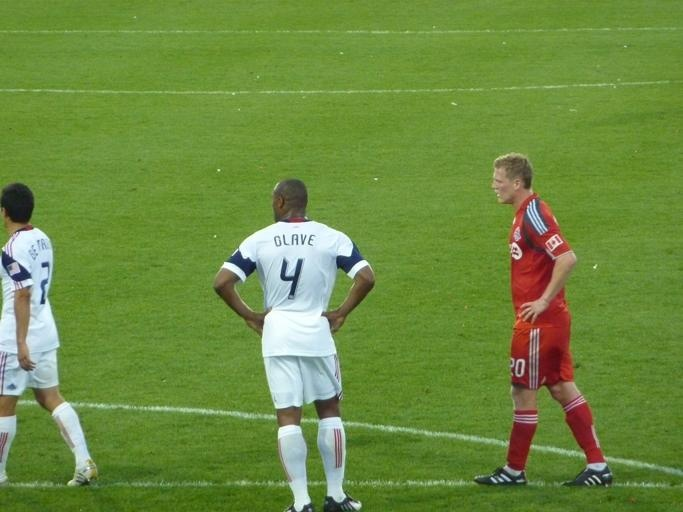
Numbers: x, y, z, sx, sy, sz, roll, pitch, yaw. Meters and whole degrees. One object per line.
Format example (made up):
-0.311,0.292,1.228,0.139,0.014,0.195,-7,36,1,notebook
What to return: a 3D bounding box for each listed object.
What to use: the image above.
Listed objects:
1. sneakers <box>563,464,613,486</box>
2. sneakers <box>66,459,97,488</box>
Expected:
3.473,3.169,23.040,0.733,0.267,0.254,0,-6,-1,sneakers
-3.634,3.117,22.977,0.600,0.243,0.221,-27,-30,34,sneakers
